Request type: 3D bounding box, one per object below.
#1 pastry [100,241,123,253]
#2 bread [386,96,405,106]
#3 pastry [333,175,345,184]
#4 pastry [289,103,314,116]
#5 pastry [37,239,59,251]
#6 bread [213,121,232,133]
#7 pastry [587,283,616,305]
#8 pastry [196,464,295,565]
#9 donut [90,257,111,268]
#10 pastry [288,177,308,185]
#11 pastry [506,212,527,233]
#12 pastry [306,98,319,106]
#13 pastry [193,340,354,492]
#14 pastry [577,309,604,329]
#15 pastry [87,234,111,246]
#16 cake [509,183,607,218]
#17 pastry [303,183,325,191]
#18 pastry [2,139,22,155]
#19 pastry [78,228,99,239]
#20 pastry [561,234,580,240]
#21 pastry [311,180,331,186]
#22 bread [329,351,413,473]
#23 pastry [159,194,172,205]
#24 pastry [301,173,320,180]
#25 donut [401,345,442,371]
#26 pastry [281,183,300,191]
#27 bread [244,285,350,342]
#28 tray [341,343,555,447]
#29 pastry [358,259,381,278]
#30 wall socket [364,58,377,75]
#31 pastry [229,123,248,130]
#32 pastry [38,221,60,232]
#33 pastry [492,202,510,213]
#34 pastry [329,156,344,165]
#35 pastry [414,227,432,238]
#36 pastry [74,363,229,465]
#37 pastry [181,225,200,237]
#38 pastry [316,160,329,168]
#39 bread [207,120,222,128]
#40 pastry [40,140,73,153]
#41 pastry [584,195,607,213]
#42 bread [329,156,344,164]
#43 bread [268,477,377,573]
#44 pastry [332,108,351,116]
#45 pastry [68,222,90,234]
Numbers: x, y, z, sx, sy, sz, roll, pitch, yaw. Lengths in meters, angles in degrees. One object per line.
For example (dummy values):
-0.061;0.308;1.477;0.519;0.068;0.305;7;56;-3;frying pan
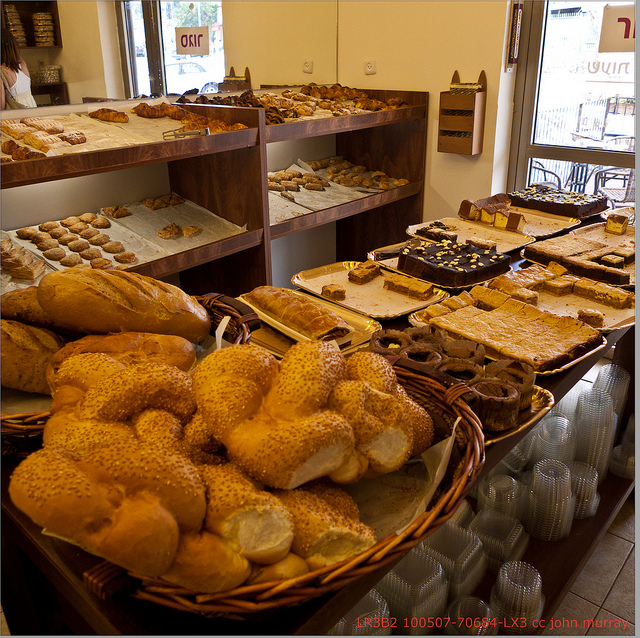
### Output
-0.914;-0.322;2.168;0.068;0.020;0.061;-7;31;-14;pastry
0.519;-1.496;3.413;0.102;0.045;0.129;4;30;12;bread
0.128;-0.961;3.404;0.061;0.025;0.078;-9;21;0;pastry
-0.102;-1.239;2.936;0.122;0.036;0.091;36;45;23;pastry
-1.151;-0.323;2.102;0.054;0.020;0.061;-15;27;-28;pastry
-0.462;-0.910;2.357;0.069;0.027;0.093;23;43;21;bread
0.882;-0.084;1.581;0.066;0.019;0.067;-35;44;-23;pastry
-0.073;0.201;0.521;0.110;0.043;0.067;36;47;-3;pastry
-0.902;-0.232;2.047;0.074;0.029;0.071;-6;22;-17;donut
-0.129;-0.902;3.223;0.098;0.028;0.053;13;26;14;pastry
0.855;-0.423;2.178;0.072;0.089;0.132;16;17;25;pastry
-0.044;-1.435;3.273;0.077;0.031;0.099;-8;28;-43;pastry
-0.059;0.105;0.615;0.180;0.058;0.176;-14;48;-21;pastry
0.765;-0.003;1.409;0.057;0.034;0.057;0;19;0;pastry
-0.983;-0.355;2.215;0.055;0.023;0.070;-4;26;-9;pastry
1.196;-0.606;2.507;0.372;0.100;0.387;19;28;40;cake
-0.044;-0.848;3.182;0.133;0.043;0.049;1;21;2;pastry
-1.191;-0.664;1.916;0.061;0.049;0.217;-12;25;-28;pastry
-1.037;-0.387;2.231;0.048;0.021;0.063;-11;28;-15;pastry
1.034;-0.342;2.055;0.045;0.012;0.042;-9;16;-18;pastry
0.007;-0.898;3.262;0.065;0.017;0.062;-3;18;-43;pastry
0.051;0.129;0.712;0.117;0.057;0.154;6;61;-38;bread
-0.836;-0.660;2.707;0.064;0.015;0.062;22;40;15;pastry
-0.070;-0.957;3.324;0.072;0.024;0.082;6;13;-3;pastry
0.211;0.071;1.015;0.079;0.023;0.093;8;22;18;donut
-0.179;-0.818;3.073;0.079;0.023;0.043;10;33;1;pastry
-0.065;-0.029;1.278;0.122;0.055;0.243;-19;35;-40;bread
0.310;0.105;1.043;0.216;0.045;0.301;-21;30;-38;tray
0.177;-0.196;1.798;0.068;0.024;0.066;-18;40;-23;pastry
0.362;-1.847;3.627;0.108;0.102;0.026;14;20;35;wall socket
-0.394;-0.923;2.377;0.055;0.017;0.058;8;29;11;pastry
-1.218;-0.425;2.224;0.057;0.021;0.062;-19;32;-31;pastry
0.849;-0.532;2.373;0.081;0.019;0.079;4;37;-10;pastry
0.119;-1.208;3.775;0.089;0.030;0.109;-2;31;3;pastry
0.436;-0.381;2.154;0.048;0.015;0.048;7;35;45;pastry
-0.298;0.126;0.720;0.231;0.078;0.222;-13;-1;13;pastry
-0.639;-0.433;2.414;0.059;0.017;0.085;2;21;-4;pastry
0.015;-1.138;3.641;0.089;0.021;0.081;-8;38;-16;pastry
-0.516;-0.950;2.415;0.066;0.017;0.071;-22;2;41;bread
-1.039;-0.681;1.957;0.108;0.038;0.128;18;27;38;pastry
1.358;-0.585;2.478;0.106;0.031;0.101;-36;48;-27;pastry
0.119;-1.210;3.777;0.086;0.029;0.107;-4;30;5;bread
0.010;0.227;0.592;0.096;0.031;0.094;18;27;-2;bread
0.121;-1.251;2.998;0.095;0.028;0.092;-24;40;-26;pastry
-1.101;-0.418;2.261;0.055;0.023;0.072;-5;23;-12;pastry
